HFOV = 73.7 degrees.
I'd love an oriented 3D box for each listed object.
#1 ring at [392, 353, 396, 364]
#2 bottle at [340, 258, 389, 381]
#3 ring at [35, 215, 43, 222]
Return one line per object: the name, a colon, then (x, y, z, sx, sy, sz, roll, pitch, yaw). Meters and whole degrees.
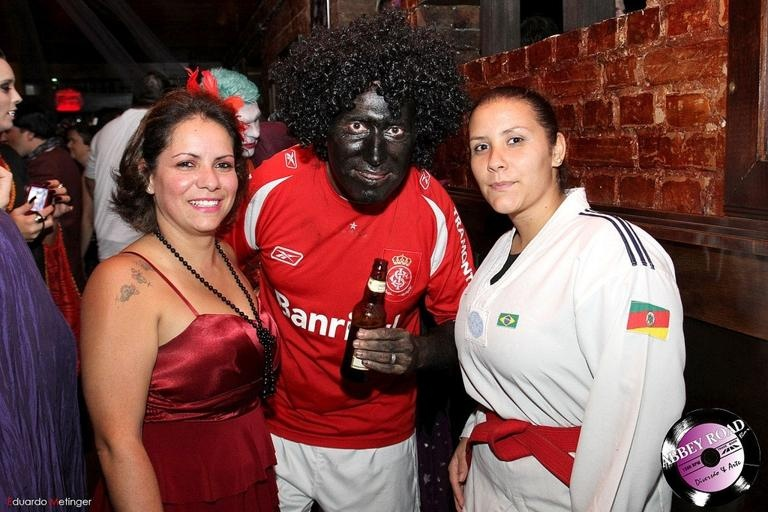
ring: (0.040, 0.412, 2.058, 0.026, 0.038, 0.012, -6, 9, -27)
bottle: (-0.088, 0.290, 2.109, 0.203, 0.595, 0.338, -2, 8, -1)
ring: (-1.900, -0.205, 2.837, 0.036, 0.046, 0.026, -7, 10, -33)
